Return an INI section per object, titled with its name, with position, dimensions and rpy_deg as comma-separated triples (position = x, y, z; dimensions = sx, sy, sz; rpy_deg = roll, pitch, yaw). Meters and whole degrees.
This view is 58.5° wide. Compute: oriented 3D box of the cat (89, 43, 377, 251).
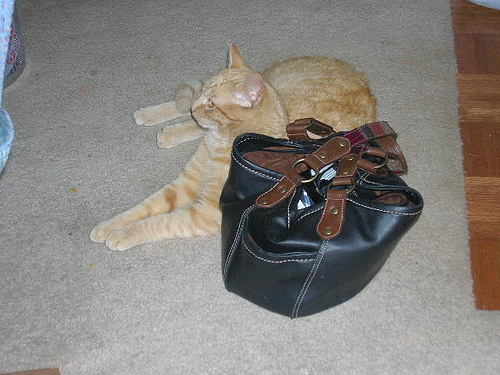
[cat]
position = -0.063, -0.105, 1.482
dimensions = 0.911, 0.402, 0.516
rpy_deg = -25, 67, -14

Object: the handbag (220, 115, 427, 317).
[handbag]
position = 0.206, 0.061, 1.187
dimensions = 0.580, 0.434, 0.446
rpy_deg = -6, 37, -22
